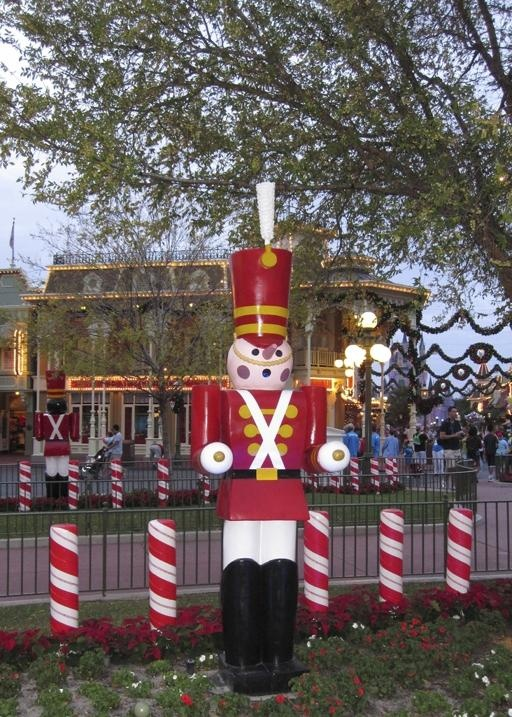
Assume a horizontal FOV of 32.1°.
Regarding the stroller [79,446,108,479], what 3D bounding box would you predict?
[{"bbox_3d":[-3.461,2.206,18.692,0.563,0.722,1.249,-2,-17,3],"label":"stroller"}]
